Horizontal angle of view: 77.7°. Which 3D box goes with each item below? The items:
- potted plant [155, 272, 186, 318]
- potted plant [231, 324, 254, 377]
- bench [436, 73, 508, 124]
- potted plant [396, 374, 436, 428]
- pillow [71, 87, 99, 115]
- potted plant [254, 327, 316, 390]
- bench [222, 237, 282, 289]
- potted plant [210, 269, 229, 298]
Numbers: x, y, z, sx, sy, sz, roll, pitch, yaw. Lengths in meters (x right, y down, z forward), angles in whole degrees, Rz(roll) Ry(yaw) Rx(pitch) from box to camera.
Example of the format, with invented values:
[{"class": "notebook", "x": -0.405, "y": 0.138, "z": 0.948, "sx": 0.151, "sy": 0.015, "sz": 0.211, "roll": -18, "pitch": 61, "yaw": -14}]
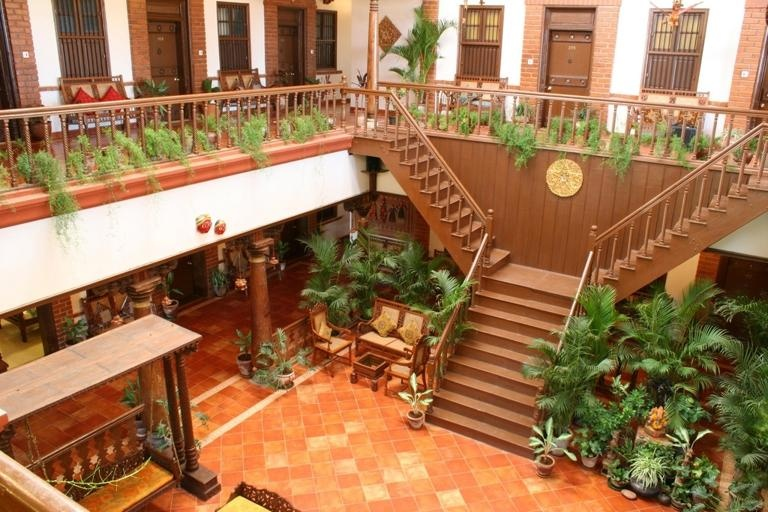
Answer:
[{"class": "potted plant", "x": -5.757, "y": 0.991, "z": 12.664, "sx": 0.530, "sy": 1.095, "sz": 1.101, "roll": -3, "pitch": 23, "yaw": -13}, {"class": "potted plant", "x": -3.094, "y": 2.066, "z": 10.464, "sx": 0.338, "sy": 1.028, "sz": 0.647, "roll": -6, "pitch": 24, "yaw": -20}, {"class": "bench", "x": 2.291, "y": -3.953, "z": 11.864, "sx": 1.823, "sy": 0.921, "sz": 3.311, "roll": 5, "pitch": 23, "yaw": 5}, {"class": "potted plant", "x": 0.642, "y": 2.954, "z": 9.573, "sx": 0.635, "sy": 0.840, "sz": 0.677, "roll": -15, "pitch": 31, "yaw": -23}, {"class": "pillow", "x": -6.375, "y": -3.400, "z": 10.067, "sx": 0.354, "sy": 0.302, "sz": 0.359, "roll": 3, "pitch": 23, "yaw": 1}, {"class": "potted plant", "x": -2.225, "y": 2.117, "z": 10.359, "sx": 0.928, "sy": 1.087, "sz": 1.161, "roll": 15, "pitch": 26, "yaw": 27}, {"class": "bench", "x": -3.442, "y": 0.209, "z": 12.037, "sx": 1.450, "sy": 1.310, "sz": 0.953, "roll": -7, "pitch": 9, "yaw": -45}, {"class": "potted plant", "x": -4.779, "y": 0.769, "z": 13.720, "sx": 0.308, "sy": 0.783, "sz": 0.288, "roll": 8, "pitch": 23, "yaw": 12}]
